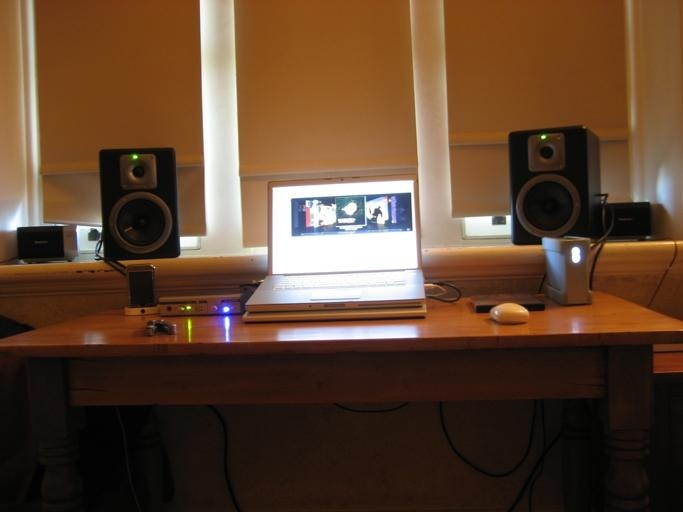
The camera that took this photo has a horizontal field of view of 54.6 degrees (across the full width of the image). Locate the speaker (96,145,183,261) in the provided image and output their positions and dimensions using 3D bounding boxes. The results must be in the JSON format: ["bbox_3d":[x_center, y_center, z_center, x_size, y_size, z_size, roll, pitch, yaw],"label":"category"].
[{"bbox_3d":[-0.831,-0.191,2.723,0.315,0.464,0.253,-2,-9,-23],"label":"speaker"}]

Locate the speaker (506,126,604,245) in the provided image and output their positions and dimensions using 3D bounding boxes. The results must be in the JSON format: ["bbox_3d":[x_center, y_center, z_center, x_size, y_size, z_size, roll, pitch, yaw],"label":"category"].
[{"bbox_3d":[0.858,-0.281,2.709,0.339,0.450,0.357,-2,5,8],"label":"speaker"}]

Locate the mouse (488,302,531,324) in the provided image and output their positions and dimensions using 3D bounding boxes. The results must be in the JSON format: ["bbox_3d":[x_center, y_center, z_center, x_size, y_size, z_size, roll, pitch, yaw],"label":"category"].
[{"bbox_3d":[0.557,0.173,2.204,0.078,0.044,0.077,10,16,41],"label":"mouse"}]

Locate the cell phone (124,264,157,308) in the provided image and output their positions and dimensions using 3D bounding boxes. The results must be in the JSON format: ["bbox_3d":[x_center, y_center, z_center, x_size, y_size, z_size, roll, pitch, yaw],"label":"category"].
[{"bbox_3d":[-0.760,0.120,2.502,0.107,0.193,0.017,0,-32,-24],"label":"cell phone"}]
